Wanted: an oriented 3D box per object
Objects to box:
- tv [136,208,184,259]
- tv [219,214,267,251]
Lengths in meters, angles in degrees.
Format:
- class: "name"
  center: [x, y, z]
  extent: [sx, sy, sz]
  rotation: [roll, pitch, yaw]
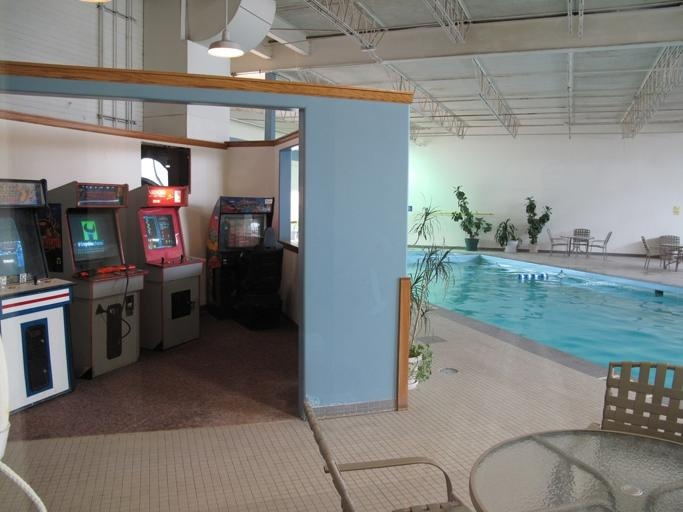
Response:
- class: "tv"
  center: [-2.519, -0.308, 6.414]
  extent: [0.269, 0.742, 0.639]
  rotation: [8, 13, 33]
- class: "tv"
  center: [-1.645, -0.337, 7.838]
  extent: [0.725, 0.576, 0.348]
  rotation: [0, -21, -1]
